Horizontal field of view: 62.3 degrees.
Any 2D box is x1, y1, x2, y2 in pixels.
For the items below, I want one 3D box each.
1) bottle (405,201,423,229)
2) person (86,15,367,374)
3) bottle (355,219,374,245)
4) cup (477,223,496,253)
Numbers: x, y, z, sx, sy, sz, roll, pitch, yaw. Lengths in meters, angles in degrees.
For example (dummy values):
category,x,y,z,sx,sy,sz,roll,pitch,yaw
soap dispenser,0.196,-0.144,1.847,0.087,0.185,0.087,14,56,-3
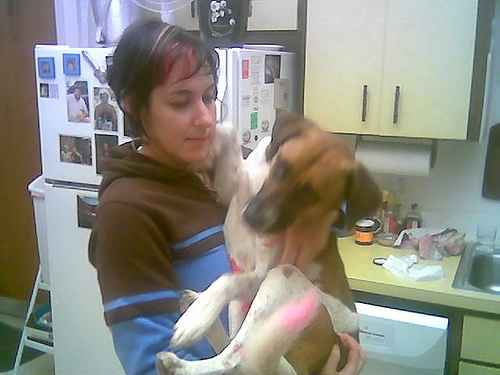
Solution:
category,x,y,z,sx,sy,sz,roll,pitch,yaw
bottle,0.322,0.055,0.805,0.027,0.043,0.065,6,13,29
person,-0.019,-0.038,1.205,0.601,1.022,0.662,-6,13,16
bottle,0.194,0.078,0.694,0.043,0.049,0.016,-7,13,-29
cup,0.483,0.101,0.847,0.043,0.044,0.078,5,-27,25
